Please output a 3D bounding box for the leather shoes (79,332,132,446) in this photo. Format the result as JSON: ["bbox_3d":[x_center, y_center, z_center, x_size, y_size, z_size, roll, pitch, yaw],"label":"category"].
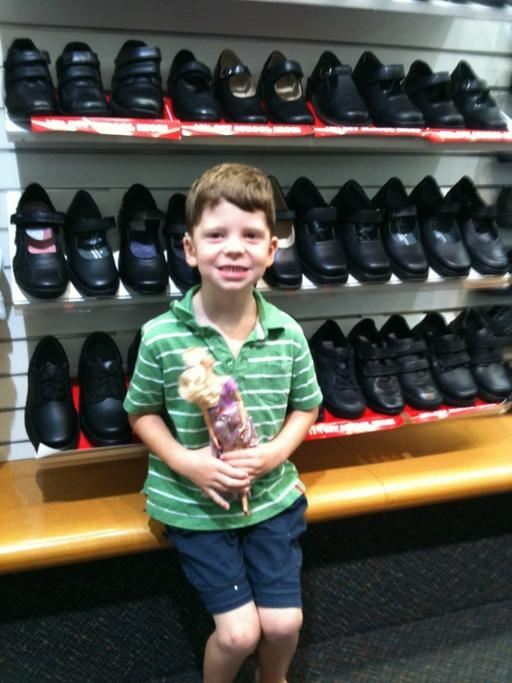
[{"bbox_3d":[-0.403,0.115,1.371,0.124,0.127,0.350,1,48,-25],"label":"leather shoes"}]

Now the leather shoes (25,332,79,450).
[{"bbox_3d":[-0.539,0.140,1.349,0.131,0.115,0.363,2,42,-26],"label":"leather shoes"}]

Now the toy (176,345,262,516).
[{"bbox_3d":[-0.056,0.103,0.805,0.079,0.227,0.185,-4,16,5],"label":"toy"}]
